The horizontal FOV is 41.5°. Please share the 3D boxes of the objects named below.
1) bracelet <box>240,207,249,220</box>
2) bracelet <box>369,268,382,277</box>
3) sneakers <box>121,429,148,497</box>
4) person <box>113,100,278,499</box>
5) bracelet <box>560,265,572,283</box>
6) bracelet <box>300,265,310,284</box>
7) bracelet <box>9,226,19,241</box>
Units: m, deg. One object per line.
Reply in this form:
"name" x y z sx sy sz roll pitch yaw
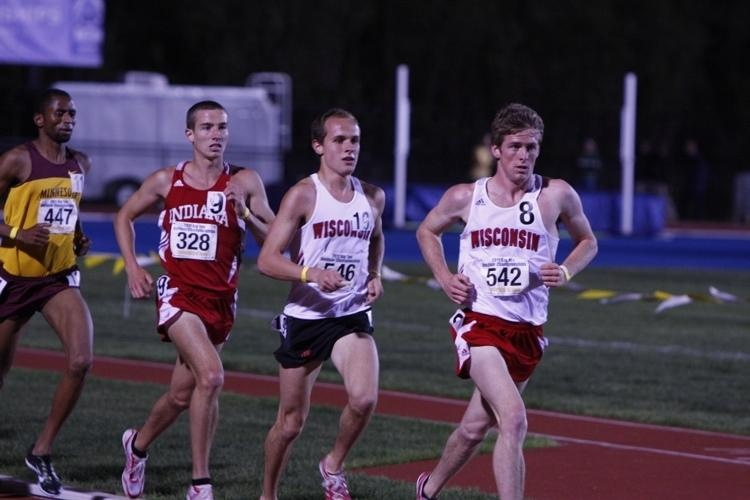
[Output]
"bracelet" -1.010 -0.290 7.589 0.026 0.071 0.071 3 -38 -25
"bracelet" 0.001 0.177 7.653 0.056 0.058 0.058 0 4 -7
"sneakers" -1.865 1.669 7.737 0.204 0.524 0.176 -16 -16 41
"person" -1.449 0.373 7.658 1.100 3.060 0.847 7 7 24
"bracelet" 1.351 0.161 7.131 0.026 0.107 0.111 -28 -27 11
"bracelet" -0.513 0.177 7.198 0.067 0.099 0.101 4 -5 -5
"bracelet" -2.816 -0.133 7.720 0.088 0.067 0.078 -10 3 23
